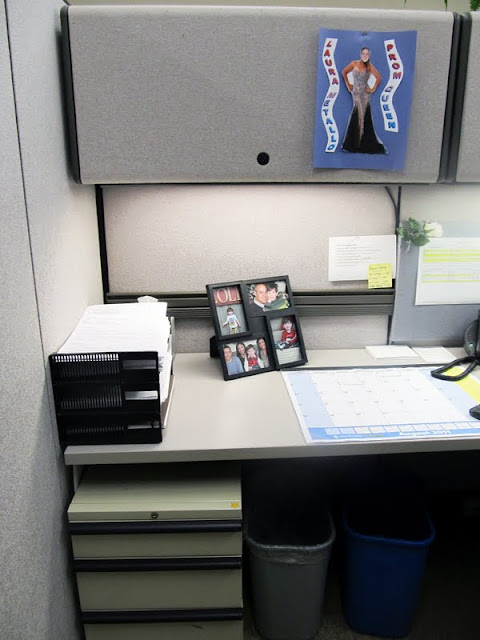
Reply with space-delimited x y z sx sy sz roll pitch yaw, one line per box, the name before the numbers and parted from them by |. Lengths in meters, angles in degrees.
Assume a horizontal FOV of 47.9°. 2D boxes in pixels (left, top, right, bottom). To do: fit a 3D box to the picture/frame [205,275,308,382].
picture/frame | 0.042 0.027 1.548 0.243 0.223 0.138 -11 25 -13
